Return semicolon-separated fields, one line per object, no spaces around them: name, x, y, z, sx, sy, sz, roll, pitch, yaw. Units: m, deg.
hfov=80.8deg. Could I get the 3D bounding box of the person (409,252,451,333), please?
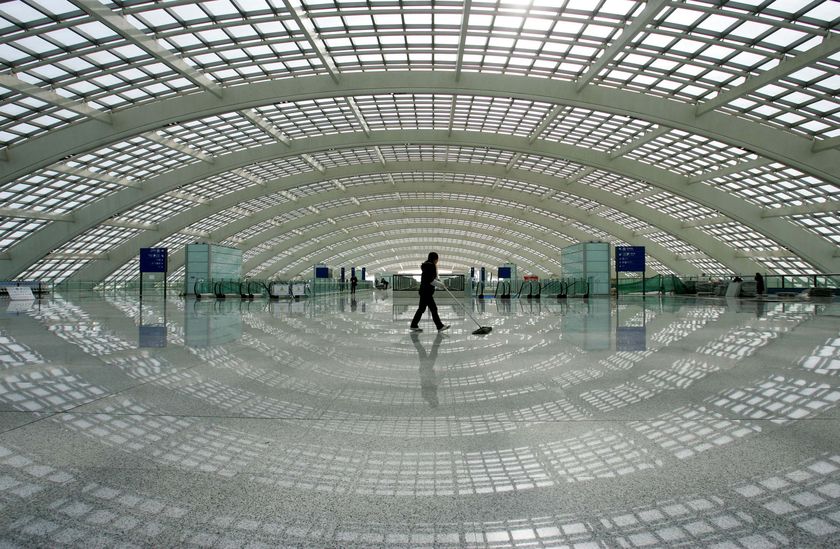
person;0.509;0.370;11.193;1.257;1.269;1.543;-4;-93;-27
